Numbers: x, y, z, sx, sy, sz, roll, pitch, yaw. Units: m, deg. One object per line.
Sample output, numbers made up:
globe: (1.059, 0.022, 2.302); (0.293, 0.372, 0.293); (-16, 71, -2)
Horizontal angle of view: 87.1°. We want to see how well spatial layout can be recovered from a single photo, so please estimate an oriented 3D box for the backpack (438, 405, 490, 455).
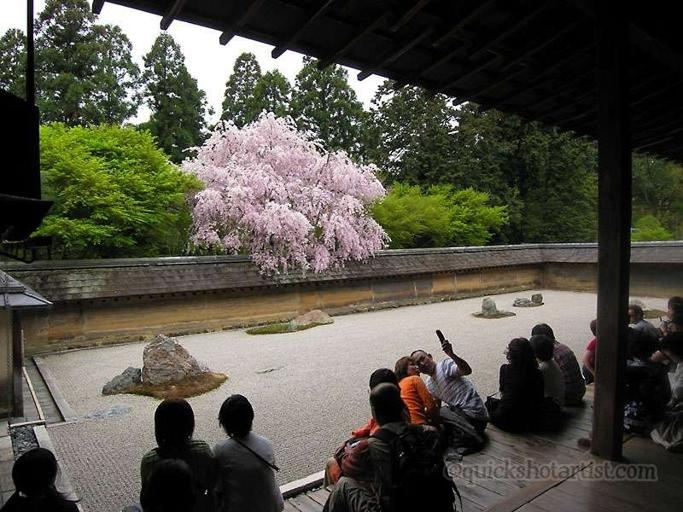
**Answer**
backpack: (1.357, 1.970, 4.031); (0.533, 0.211, 0.500); (5, 0, -8)
